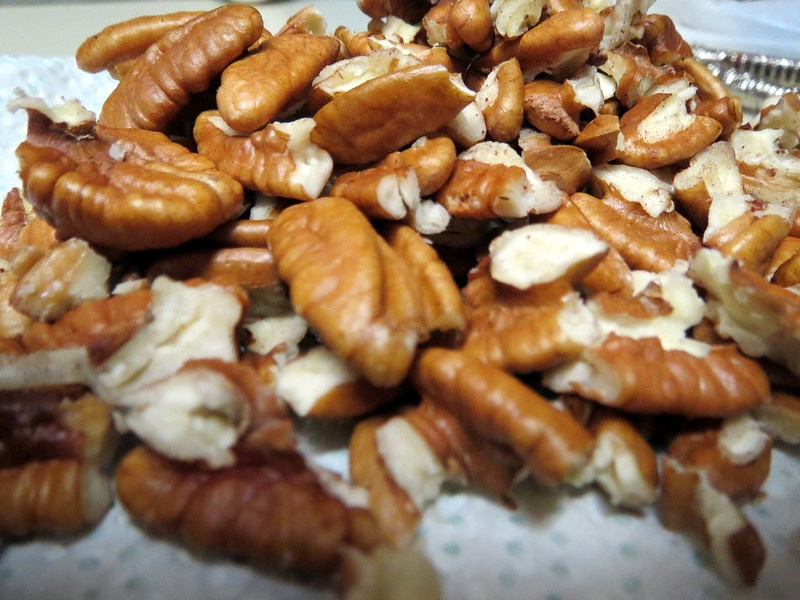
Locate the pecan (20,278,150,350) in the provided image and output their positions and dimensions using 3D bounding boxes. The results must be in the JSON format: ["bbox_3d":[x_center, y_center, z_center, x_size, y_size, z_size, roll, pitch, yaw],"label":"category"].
[{"bbox_3d":[-0.460,0.020,1.126,0.194,0.116,0.045,7,66,4],"label":"pecan"}]

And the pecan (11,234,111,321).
[{"bbox_3d":[-0.458,-0.025,1.132,0.120,0.043,0.102,-27,64,-19],"label":"pecan"}]
